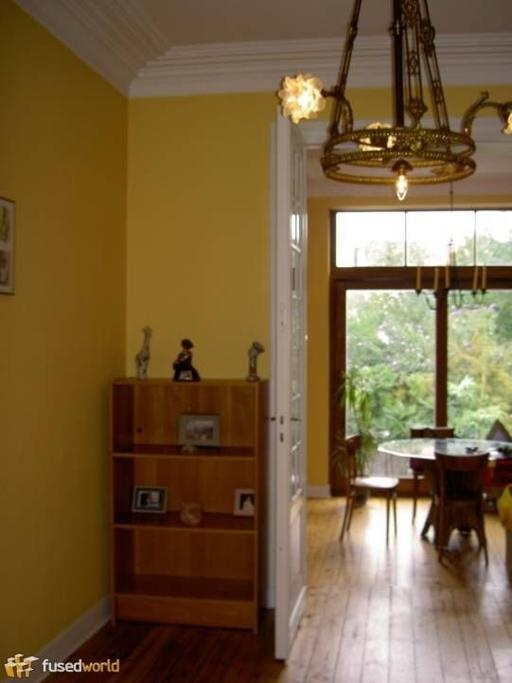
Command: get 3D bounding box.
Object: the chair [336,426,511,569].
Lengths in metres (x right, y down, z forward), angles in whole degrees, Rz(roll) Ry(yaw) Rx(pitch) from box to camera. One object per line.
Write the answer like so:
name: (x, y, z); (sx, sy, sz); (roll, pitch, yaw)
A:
chair: (1.364, 1.268, 5.107); (1.281, 0.764, 0.875); (2, 2, 44)

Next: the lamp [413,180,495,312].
lamp: (2.238, -1.117, 6.611); (0.565, 1.238, 0.628); (-2, 3, 30)

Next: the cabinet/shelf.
cabinet/shelf: (-0.375, 0.953, 3.416); (0.769, 1.422, 0.350); (0, -1, 6)

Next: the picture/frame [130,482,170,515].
picture/frame: (-0.631, 0.948, 3.509); (0.159, 0.135, 0.019); (0, -20, 5)
